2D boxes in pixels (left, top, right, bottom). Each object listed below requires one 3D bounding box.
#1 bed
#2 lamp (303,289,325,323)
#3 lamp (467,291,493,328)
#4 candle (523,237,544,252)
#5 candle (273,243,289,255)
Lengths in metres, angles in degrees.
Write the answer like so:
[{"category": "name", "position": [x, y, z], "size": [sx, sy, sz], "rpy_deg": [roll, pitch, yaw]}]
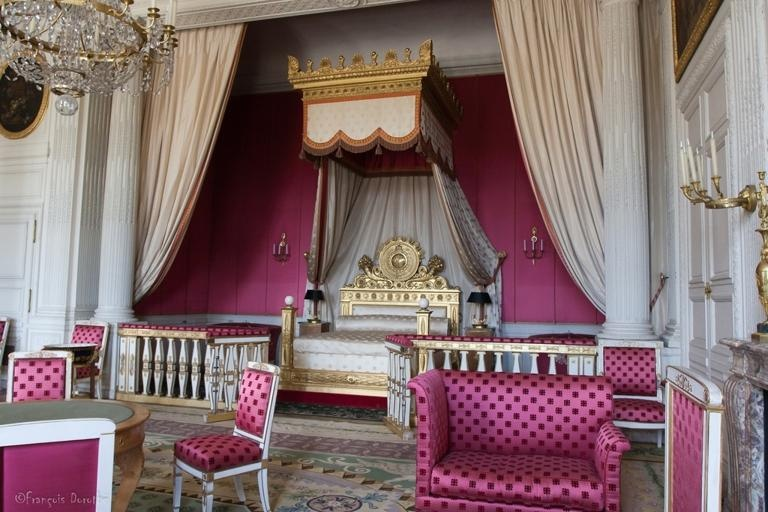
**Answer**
[{"category": "bed", "position": [-0.063, 0.791, 8.825], "size": [2.312, 2.274, 2.612], "rpy_deg": [2, -7, 6]}, {"category": "lamp", "position": [-1.079, 0.792, 9.702], "size": [0.404, 0.654, 0.420], "rpy_deg": [0, -8, 0]}, {"category": "lamp", "position": [1.374, 0.785, 9.115], "size": [0.381, 0.582, 0.413], "rpy_deg": [-3, -6, 36]}, {"category": "candle", "position": [2.232, -0.144, 9.359], "size": [0.294, 0.184, 0.044], "rpy_deg": [-1, -5, 12]}, {"category": "candle", "position": [-1.722, -0.070, 10.610], "size": [0.278, 0.308, 0.164], "rpy_deg": [-2, -12, 10]}]
